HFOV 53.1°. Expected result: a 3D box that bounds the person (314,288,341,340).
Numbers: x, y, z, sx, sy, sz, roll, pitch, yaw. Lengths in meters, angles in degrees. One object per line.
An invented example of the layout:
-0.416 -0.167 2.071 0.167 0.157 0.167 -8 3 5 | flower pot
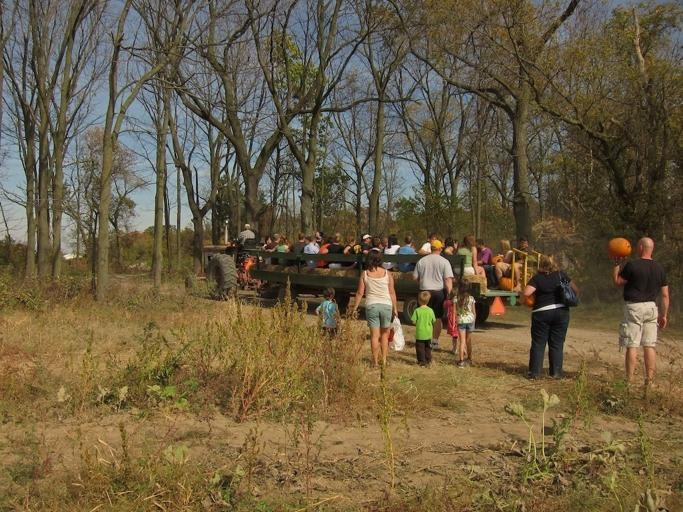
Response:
-0.218 1.063 11.582 0.393 0.999 0.252 5 8 31 | person

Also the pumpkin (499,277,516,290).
3.535 0.578 14.545 0.225 0.249 0.227 6 11 44 | pumpkin

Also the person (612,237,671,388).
4.635 0.828 10.496 0.800 2.239 0.585 0 0 4 | person

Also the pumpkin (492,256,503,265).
3.465 0.096 15.238 0.178 0.287 0.183 -6 6 -36 | pumpkin

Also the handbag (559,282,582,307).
3.675 0.608 10.904 0.348 0.410 0.190 0 -1 -27 | handbag

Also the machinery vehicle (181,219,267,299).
-3.238 0.230 19.919 1.446 1.480 2.470 11 6 39 | machinery vehicle

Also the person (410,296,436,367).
1.421 1.251 11.821 0.355 1.266 0.392 0 0 9 | person

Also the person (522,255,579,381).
3.355 0.983 10.996 0.798 1.959 0.472 0 0 18 | person
